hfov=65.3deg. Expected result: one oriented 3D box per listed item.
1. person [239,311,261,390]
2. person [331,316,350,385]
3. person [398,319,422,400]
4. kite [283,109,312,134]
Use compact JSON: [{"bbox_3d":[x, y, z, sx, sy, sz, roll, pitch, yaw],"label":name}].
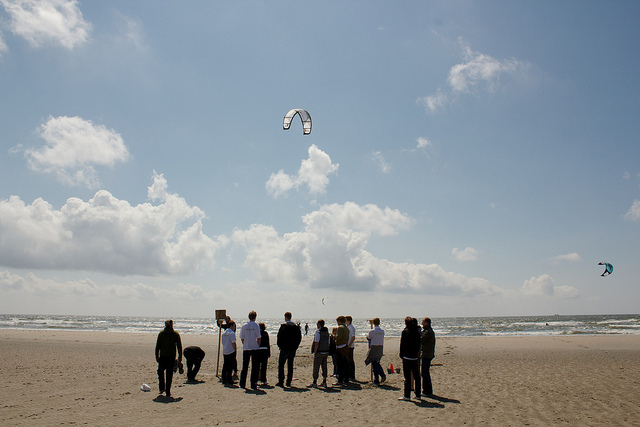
[{"bbox_3d":[-2.919,5.868,21.395,0.883,3.239,1.136,5,-10,-30],"label":"person"},{"bbox_3d":[0.950,6.137,22.342,0.794,2.961,1.134,-1,-9,6],"label":"person"},{"bbox_3d":[3.754,5.934,20.372,0.791,3.168,1.222,-5,-11,34],"label":"person"},{"bbox_3d":[-1.492,-5.923,32.040,1.813,1.699,1.195,-4,-10,25],"label":"kite"}]
